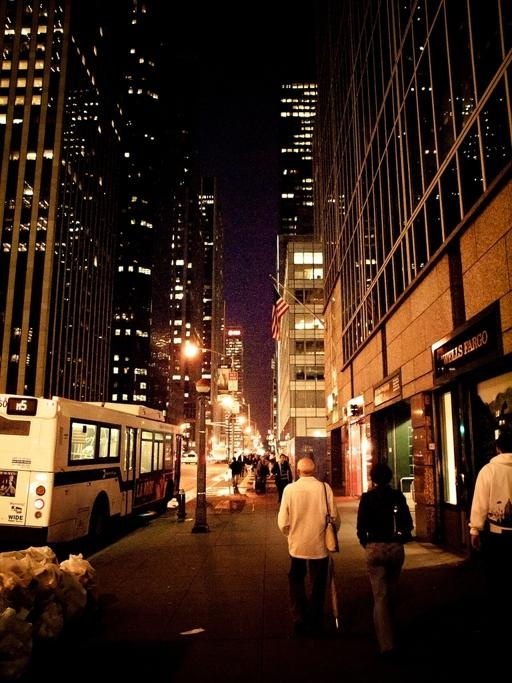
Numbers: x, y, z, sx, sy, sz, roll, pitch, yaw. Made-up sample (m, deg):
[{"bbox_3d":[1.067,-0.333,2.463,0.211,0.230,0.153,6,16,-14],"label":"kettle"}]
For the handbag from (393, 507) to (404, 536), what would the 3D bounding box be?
[{"bbox_3d":[1.326,1.709,5.138,0.087,0.272,0.058,-3,-10,11],"label":"handbag"}]

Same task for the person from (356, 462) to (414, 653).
[{"bbox_3d":[1.223,2.024,5.192,0.497,1.701,0.382,5,-11,-26],"label":"person"}]

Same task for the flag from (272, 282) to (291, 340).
[{"bbox_3d":[1.048,-1.393,24.867,0.824,3.180,0.173,-15,-40,12],"label":"flag"}]

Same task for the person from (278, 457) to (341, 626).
[{"bbox_3d":[0.572,2.273,5.889,0.636,1.574,0.332,-5,-11,21],"label":"person"}]
